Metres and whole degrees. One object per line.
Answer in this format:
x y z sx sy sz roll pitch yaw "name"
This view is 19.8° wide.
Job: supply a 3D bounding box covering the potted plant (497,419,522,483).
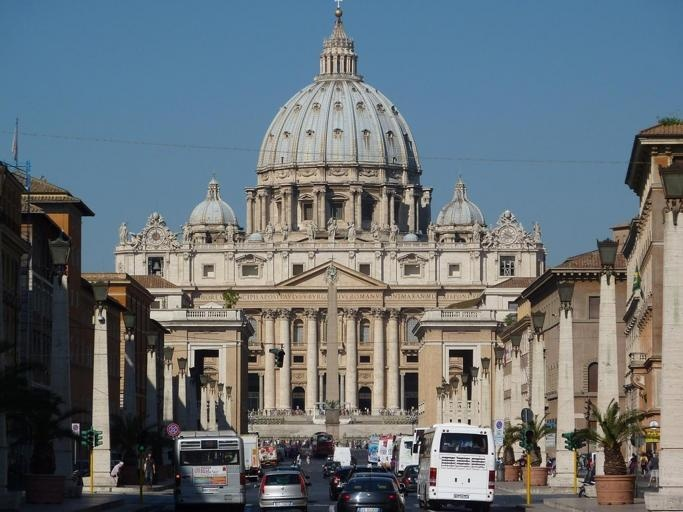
9.428 11.184 110.502 1.492 3.016 1.482 -1 -7 -29 "potted plant"
